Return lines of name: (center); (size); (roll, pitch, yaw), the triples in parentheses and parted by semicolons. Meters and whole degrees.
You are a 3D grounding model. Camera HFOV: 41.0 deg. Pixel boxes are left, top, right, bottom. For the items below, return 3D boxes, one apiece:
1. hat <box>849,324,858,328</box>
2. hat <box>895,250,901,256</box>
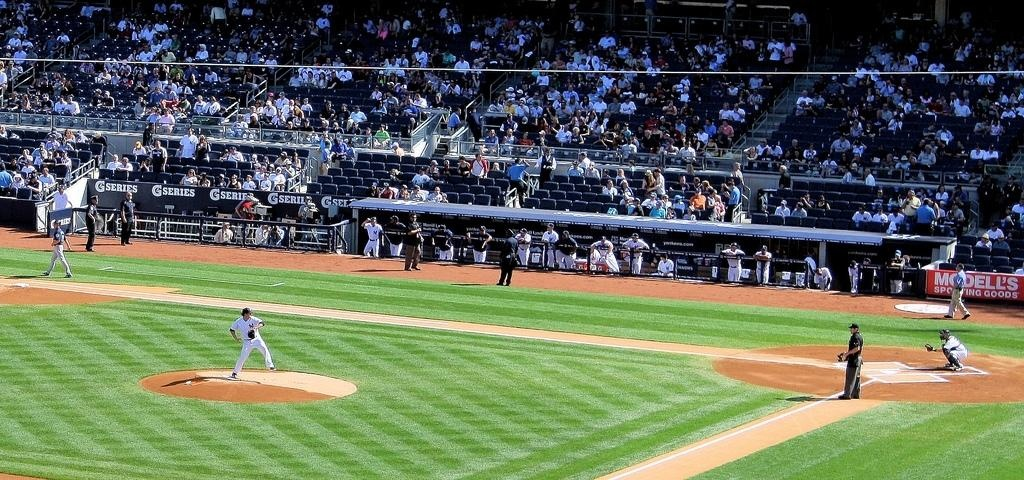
hat: (14.563, 3.775, 58.357); (0.448, 0.137, 0.280); (2, 7, 6)
hat: (20.072, 0.695, 71.246); (0.317, 0.332, 0.541); (3, 0, 13)
